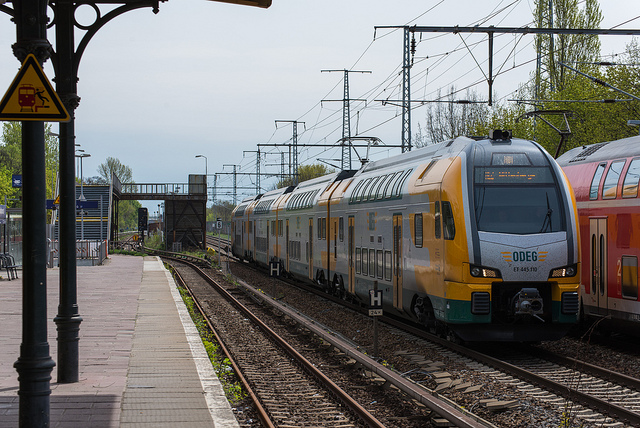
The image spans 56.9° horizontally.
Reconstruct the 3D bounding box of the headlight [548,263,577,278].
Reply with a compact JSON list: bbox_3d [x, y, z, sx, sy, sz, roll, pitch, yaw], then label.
[{"bbox_3d":[5.142,1.203,12.583,0.670,0.320,0.130,-1,0,-21],"label":"headlight"}]

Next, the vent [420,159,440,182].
[{"bbox_3d":[2.630,-1.033,14.160,0.048,0.818,0.082,29,19,-20],"label":"vent"}]

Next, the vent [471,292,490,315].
[{"bbox_3d":[3.334,1.868,12.408,0.464,0.469,0.255,0,-1,-6],"label":"vent"}]

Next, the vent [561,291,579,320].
[{"bbox_3d":[5.308,1.952,12.606,0.441,0.642,0.113,-1,0,-20],"label":"vent"}]
